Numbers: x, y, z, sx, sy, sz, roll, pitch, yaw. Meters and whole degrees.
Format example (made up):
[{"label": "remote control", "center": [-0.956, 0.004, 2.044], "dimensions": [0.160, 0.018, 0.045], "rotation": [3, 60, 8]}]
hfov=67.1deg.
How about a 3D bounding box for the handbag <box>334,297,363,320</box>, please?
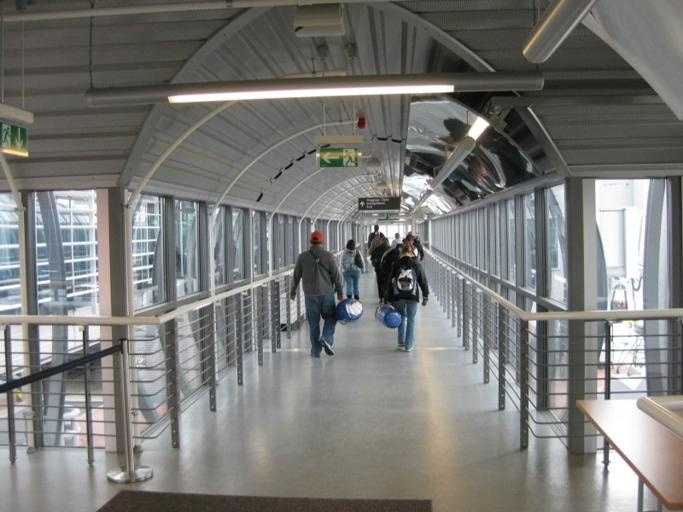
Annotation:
[{"label": "handbag", "center": [0.123, 0.826, 7.597], "dimensions": [0.386, 0.271, 0.342], "rotation": [-7, 7, -12]}]
